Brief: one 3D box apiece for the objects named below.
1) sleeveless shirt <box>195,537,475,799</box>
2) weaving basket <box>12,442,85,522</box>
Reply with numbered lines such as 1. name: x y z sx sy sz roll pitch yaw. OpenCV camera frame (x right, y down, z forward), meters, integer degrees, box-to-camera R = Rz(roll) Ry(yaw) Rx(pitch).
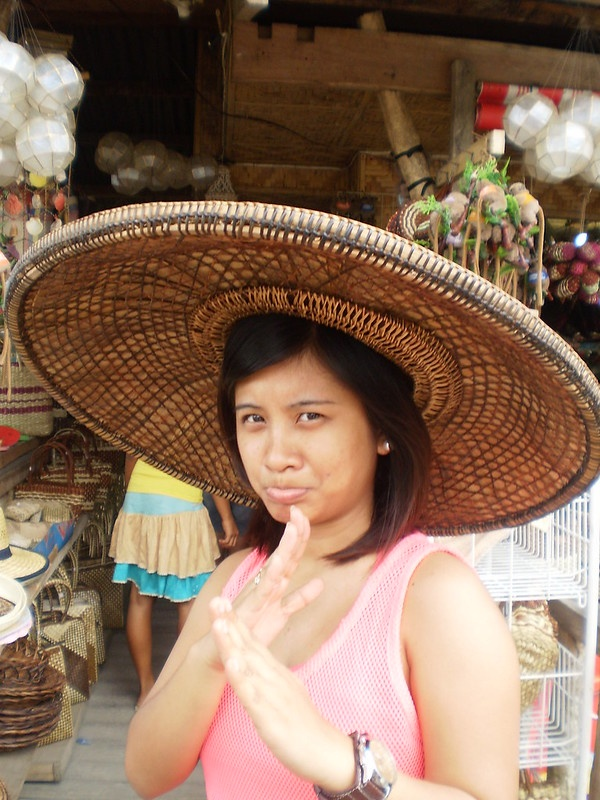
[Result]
1. sleeveless shirt: 0.020 0.433 1.262 0.432 0.437 0.298 3 7 24
2. weaving basket: -1.233 0.411 3.792 0.381 0.325 0.236 5 -6 -44
